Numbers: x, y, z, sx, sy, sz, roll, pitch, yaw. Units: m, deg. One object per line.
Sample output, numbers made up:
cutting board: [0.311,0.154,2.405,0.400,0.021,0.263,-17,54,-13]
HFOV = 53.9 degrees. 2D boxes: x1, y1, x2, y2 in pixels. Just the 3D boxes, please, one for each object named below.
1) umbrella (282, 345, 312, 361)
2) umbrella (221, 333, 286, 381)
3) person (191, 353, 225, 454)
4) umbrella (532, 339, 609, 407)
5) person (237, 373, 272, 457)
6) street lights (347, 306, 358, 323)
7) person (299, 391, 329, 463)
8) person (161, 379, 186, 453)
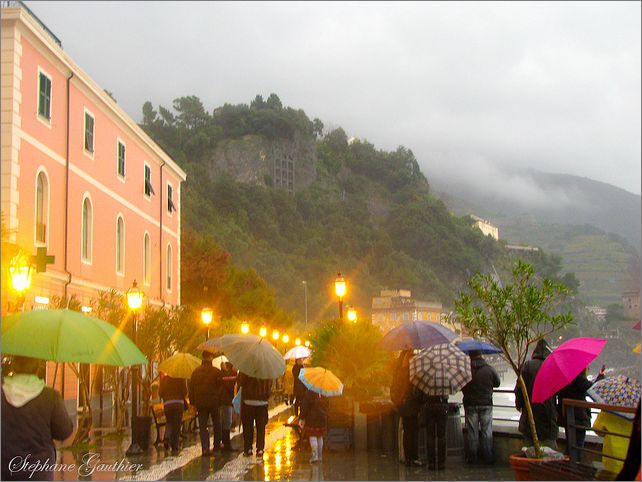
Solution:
umbrella: [-0.871,3.942,22.284,0.951,0.390,0.998,4,-19,-33]
umbrella: [-1.346,2.476,13.441,1.273,0.634,1.305,2,14,-40]
person: [-2.467,3.573,13.954,0.749,2.214,0.745,-5,-12,29]
umbrella: [3.455,1.798,8.911,0.948,0.905,0.490,1,-11,-1]
person: [-1.466,3.745,13.600,0.670,1.750,0.795,2,-11,-8]
street lights: [1.122,2.618,22.635,0.349,0.632,0.427,-2,0,-17]
person: [-0.139,3.871,13.207,0.530,1.449,0.381,1,-10,1]
person: [-3.441,3.980,14.541,0.618,1.714,0.845,4,-11,-16]
